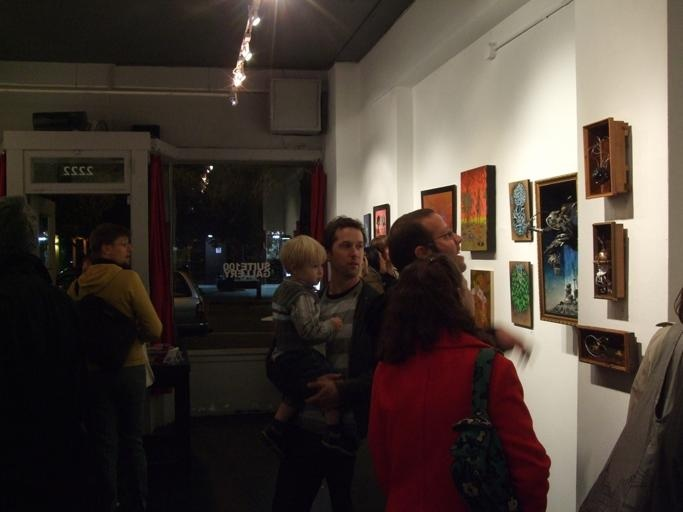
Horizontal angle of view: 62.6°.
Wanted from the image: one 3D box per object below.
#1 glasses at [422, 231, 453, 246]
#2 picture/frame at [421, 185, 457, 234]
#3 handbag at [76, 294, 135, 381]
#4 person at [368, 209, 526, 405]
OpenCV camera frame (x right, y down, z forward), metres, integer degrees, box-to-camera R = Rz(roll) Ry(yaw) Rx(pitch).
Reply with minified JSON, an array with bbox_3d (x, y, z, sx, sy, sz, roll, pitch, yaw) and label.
[{"bbox_3d":[0.359,-0.067,1.973,0.121,0.033,0.037,-5,5,-37],"label":"glasses"},{"bbox_3d":[0.545,-0.262,3.070,0.011,0.323,0.293,-2,7,-22],"label":"picture/frame"},{"bbox_3d":[-0.642,0.220,1.522,0.072,0.153,0.175,-4,-32,41],"label":"handbag"},{"bbox_3d":[0.456,0.065,2.152,0.305,0.248,0.715,-17,-54,37],"label":"person"}]
